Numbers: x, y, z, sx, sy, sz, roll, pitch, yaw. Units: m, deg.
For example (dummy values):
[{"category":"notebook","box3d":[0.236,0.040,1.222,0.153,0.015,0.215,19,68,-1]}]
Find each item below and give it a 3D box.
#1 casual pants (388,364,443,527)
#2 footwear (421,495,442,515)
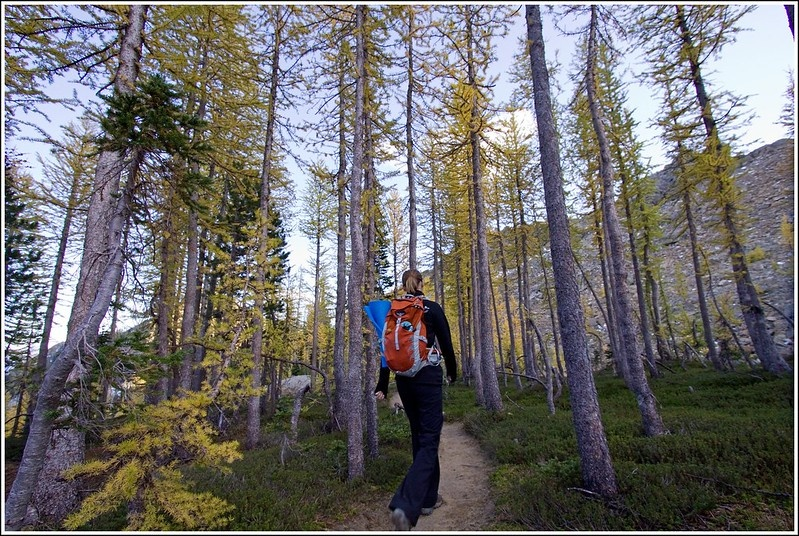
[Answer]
[{"category":"casual pants","box3d":[0.436,4.116,11.777,0.882,3.638,1.651,-6,1,39]},{"category":"footwear","box3d":[0.826,6.314,13.170,0.321,0.373,0.847,-2,1,27]}]
